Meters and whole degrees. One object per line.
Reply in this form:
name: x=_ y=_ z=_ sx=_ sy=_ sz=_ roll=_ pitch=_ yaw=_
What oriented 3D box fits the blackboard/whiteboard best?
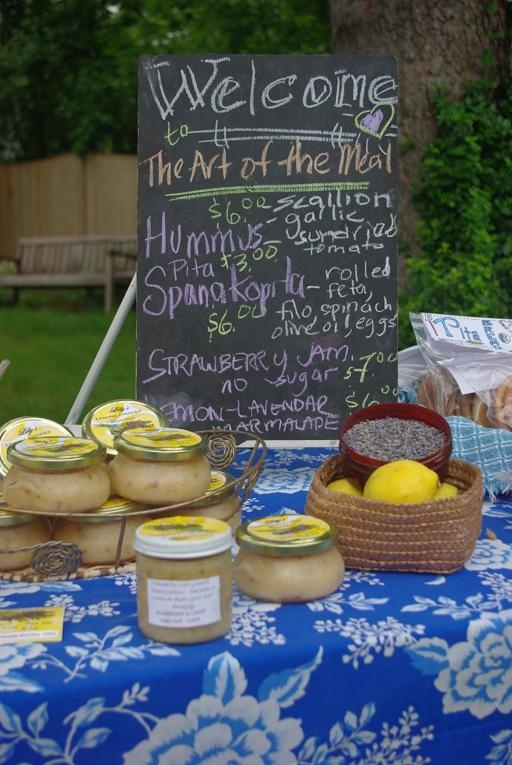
blackboard/whiteboard: x=0.032 y=-0.372 z=2.120 sx=0.750 sy=1.064 sz=0.129 roll=-2 pitch=9 yaw=-4

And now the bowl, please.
bowl: x=0.284 y=0.114 z=1.576 sx=0.185 sy=0.154 sz=0.257 roll=-6 pitch=15 yaw=-24

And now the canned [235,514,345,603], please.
canned: x=0.056 y=0.283 z=1.222 sx=0.188 sy=0.094 sz=0.178 roll=-8 pitch=13 yaw=-25

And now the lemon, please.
lemon: x=0.268 y=0.160 z=1.404 sx=0.130 sy=0.043 sz=0.137 roll=0 pitch=1 yaw=7

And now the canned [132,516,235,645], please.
canned: x=-0.099 y=0.286 z=1.091 sx=0.150 sy=0.139 sz=0.141 roll=-2 pitch=2 yaw=-9

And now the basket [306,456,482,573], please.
basket: x=0.237 y=0.213 z=1.363 sx=0.308 sy=0.161 sz=0.328 roll=1 pitch=6 yaw=7
